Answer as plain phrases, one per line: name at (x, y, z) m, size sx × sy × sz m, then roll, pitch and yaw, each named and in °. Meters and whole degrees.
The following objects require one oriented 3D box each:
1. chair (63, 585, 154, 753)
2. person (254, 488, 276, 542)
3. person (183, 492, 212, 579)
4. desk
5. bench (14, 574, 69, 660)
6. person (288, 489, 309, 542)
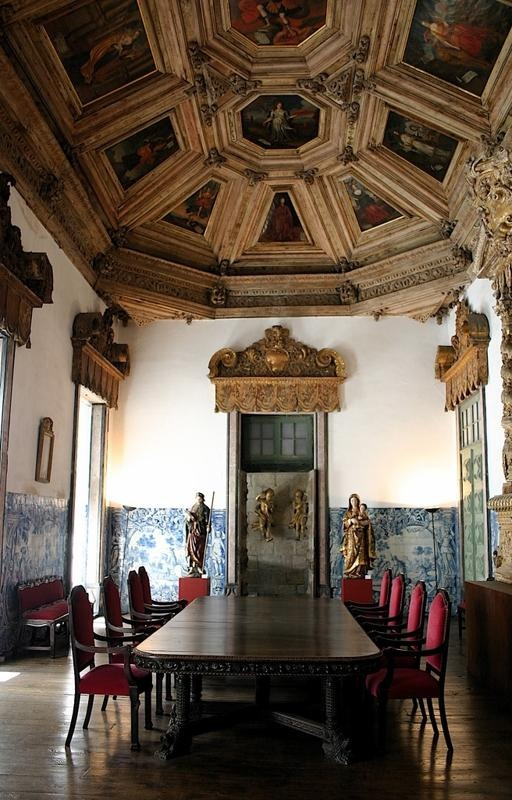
chair at (-0.895, 1.644, 3.852) m, size 0.597 × 0.905 × 0.627 m, roll 10°, pitch -17°, yaw -42°
person at (0.127, 2.015, 10.662) m, size 0.315 × 0.885 × 0.289 m, roll 0°, pitch -13°, yaw 4°
person at (-0.929, 2.075, 9.385) m, size 0.372 × 1.238 × 0.547 m, roll 2°, pitch -14°, yaw -6°
desk at (0.025, 1.856, 4.138) m, size 1.391 × 0.657 × 2.406 m, roll 1°, pitch -14°, yaw 2°
bench at (-2.231, 2.367, 6.772) m, size 0.374 × 0.761 × 1.277 m, roll -3°, pitch -11°, yaw 1°
person at (0.732, 2.005, 10.693) m, size 0.304 × 0.870 × 0.236 m, roll 1°, pitch -13°, yaw 1°
